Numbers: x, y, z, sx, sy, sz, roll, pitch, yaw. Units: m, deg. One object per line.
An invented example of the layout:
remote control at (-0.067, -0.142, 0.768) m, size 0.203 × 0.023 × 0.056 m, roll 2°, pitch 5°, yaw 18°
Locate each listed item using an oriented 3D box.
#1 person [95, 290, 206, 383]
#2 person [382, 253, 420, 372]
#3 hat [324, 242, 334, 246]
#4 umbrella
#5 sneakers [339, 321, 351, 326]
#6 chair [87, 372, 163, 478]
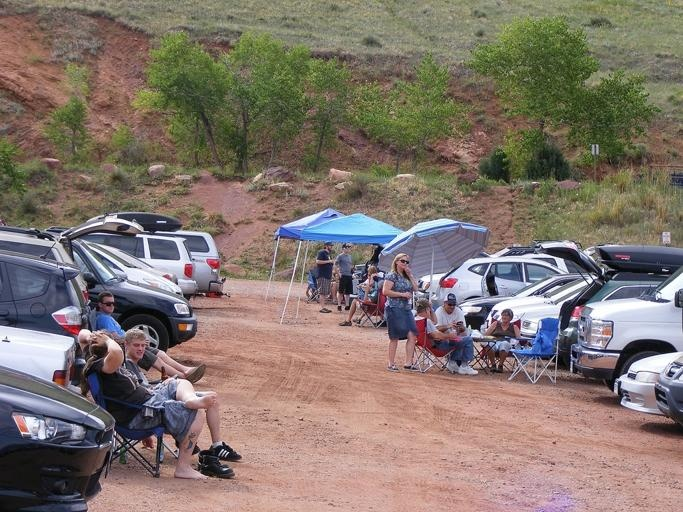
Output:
person at (-3.770, 1.408, 16.760) m, size 2.673 × 1.080 × 1.165 m, roll 3°, pitch 1°, yaw -3°
person at (1.223, 1.222, 20.087) m, size 0.770 × 2.452 × 0.692 m, roll 2°, pitch 13°, yaw 4°
hat at (-0.444, -0.362, 29.190) m, size 0.222 × 0.097 × 0.309 m, roll 3°, pitch -4°, yaw -33°
umbrella at (2.668, -0.377, 25.999) m, size 2.570 × 1.550 × 2.367 m, roll -21°, pitch -21°, yaw -3°
sneakers at (0.040, 1.825, 25.837) m, size 0.352 × 0.126 × 0.115 m, roll 0°, pitch -3°, yaw 17°
chair at (-3.398, 2.724, 15.266) m, size 1.170 × 1.317 × 1.133 m, roll 4°, pitch -8°, yaw 3°
